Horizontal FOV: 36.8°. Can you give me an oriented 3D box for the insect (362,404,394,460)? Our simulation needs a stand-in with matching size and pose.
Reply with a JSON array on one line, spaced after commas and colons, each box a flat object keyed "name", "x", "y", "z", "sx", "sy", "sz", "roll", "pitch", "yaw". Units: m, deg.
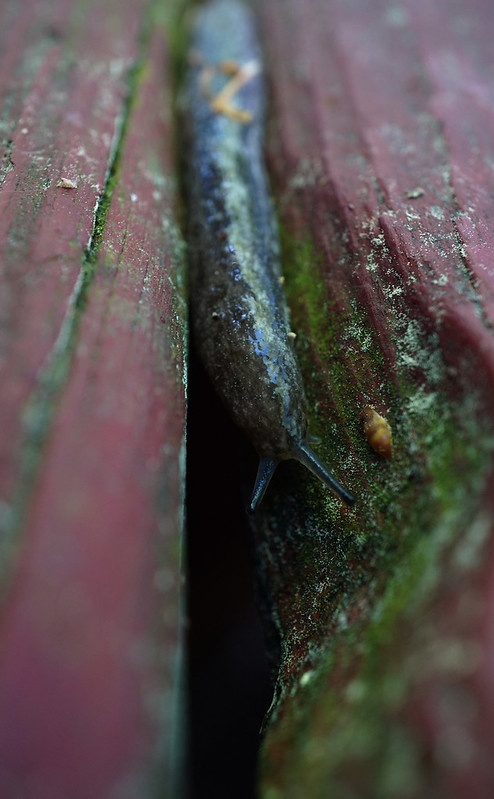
[{"name": "insect", "x": 0.217, "y": 0.047, "z": 1.251, "sx": 0.059, "sy": 0.034, "sz": 0.109, "roll": -5, "pitch": 48, "yaw": -8}]
